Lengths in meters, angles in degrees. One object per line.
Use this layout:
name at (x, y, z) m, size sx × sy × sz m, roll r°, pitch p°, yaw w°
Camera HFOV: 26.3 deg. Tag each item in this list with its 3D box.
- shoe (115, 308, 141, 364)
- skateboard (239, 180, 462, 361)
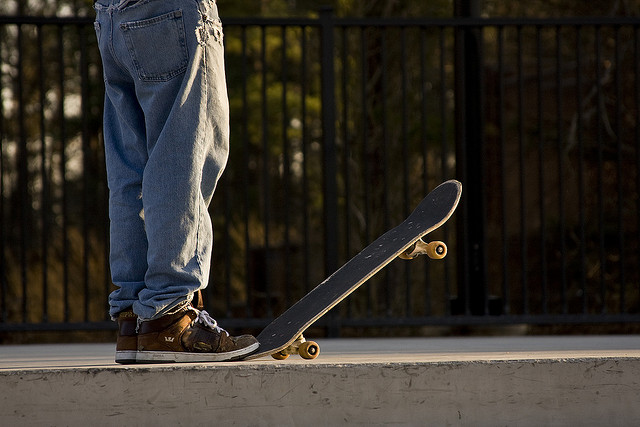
shoe at (-1.292, 0.811, 9.223) m, size 0.184 × 0.500 × 0.349 m, roll 2°, pitch -94°, yaw -3°
skateboard at (0.277, 0.462, 10.901) m, size 1.810 × 0.441 × 0.270 m, roll -43°, pitch -80°, yaw -6°
